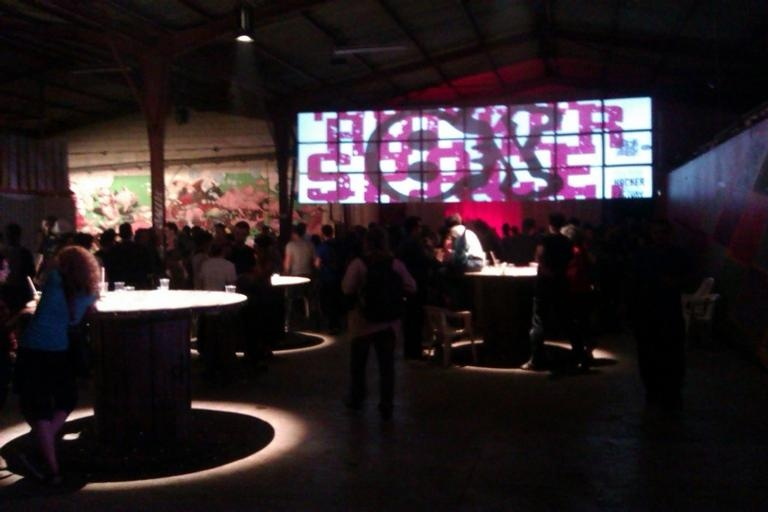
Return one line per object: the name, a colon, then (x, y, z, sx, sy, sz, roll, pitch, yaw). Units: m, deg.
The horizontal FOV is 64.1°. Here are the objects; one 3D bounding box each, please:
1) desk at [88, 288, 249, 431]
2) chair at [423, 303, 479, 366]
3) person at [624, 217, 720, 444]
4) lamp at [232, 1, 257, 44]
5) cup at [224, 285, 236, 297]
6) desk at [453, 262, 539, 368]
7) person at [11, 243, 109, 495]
desk: (-2.258, 1.043, 6.118, 1.448, 0.957, 1.429, 1, 3, 18)
chair: (0.920, 1.072, 8.889, 0.587, 0.767, 0.597, -7, 8, -24)
person: (3.050, 0.667, 6.846, 0.681, 2.096, 0.428, 3, 10, 21)
lamp: (-2.571, -4.290, 11.297, 0.308, 0.703, 1.104, -2, 10, -12)
cup: (-1.773, 0.399, 7.054, 0.159, 0.146, 0.155, 0, 2, 0)
desk: (1.654, 0.831, 9.527, 1.489, 1.423, 1.329, -1, -2, -16)
person: (-2.907, 0.970, 5.549, 0.728, 2.070, 0.397, -5, 11, -29)
